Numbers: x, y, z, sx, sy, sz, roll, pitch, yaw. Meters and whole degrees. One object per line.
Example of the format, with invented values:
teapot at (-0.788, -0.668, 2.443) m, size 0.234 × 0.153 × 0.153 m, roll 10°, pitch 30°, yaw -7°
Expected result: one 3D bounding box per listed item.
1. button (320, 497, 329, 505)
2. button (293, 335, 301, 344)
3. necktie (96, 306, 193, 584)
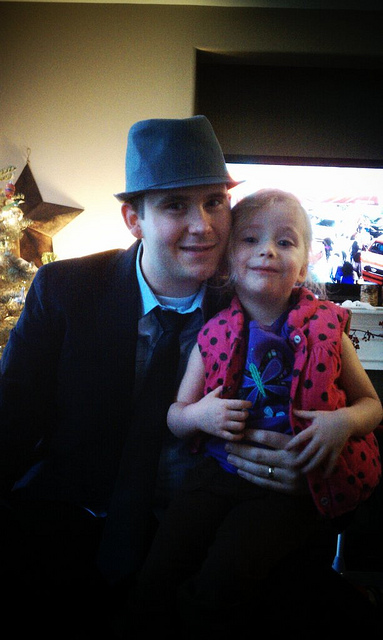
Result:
button at (0.246, 0.335, 1.003) m, size 0.015 × 0.015 × 0.001 m, roll 2°, pitch 8°, yaw 14°
button at (0.196, 0.036, 1.008) m, size 0.014 × 0.013 × 0.013 m, roll 3°, pitch 4°, yaw -17°
necktie at (-0.062, 0.293, 1.159) m, size 0.137 × 0.642 × 0.072 m, roll 16°, pitch 1°, yaw 28°
